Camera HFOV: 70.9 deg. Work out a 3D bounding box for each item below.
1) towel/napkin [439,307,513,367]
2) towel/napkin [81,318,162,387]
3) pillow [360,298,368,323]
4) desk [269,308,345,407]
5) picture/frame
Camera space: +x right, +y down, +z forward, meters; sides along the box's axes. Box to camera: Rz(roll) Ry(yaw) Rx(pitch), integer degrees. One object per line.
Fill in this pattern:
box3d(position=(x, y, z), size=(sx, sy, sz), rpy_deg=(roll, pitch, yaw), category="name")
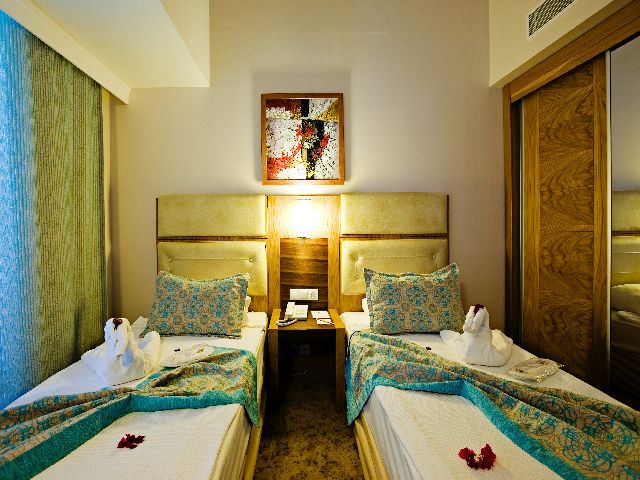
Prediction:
box3d(position=(1.079, 0.661, 3.026), size=(0.385, 0.284, 0.383), rpy_deg=(-15, 12, -43), category="towel/napkin")
box3d(position=(-1.219, 0.665, 2.806), size=(0.341, 0.221, 0.477), rpy_deg=(0, -2, -39), category="towel/napkin")
box3d(position=(0.366, 0.568, 3.707), size=(0.036, 0.134, 0.114), rpy_deg=(4, -13, -16), category="pillow")
box3d(position=(-0.103, 0.882, 3.551), size=(0.543, 0.515, 0.607), rpy_deg=(0, 6, 0), category="desk")
box3d(position=(-0.171, -0.890, 3.852), size=(0.709, 0.792, 0.053), rpy_deg=(0, 2, 1), category="picture/frame")
